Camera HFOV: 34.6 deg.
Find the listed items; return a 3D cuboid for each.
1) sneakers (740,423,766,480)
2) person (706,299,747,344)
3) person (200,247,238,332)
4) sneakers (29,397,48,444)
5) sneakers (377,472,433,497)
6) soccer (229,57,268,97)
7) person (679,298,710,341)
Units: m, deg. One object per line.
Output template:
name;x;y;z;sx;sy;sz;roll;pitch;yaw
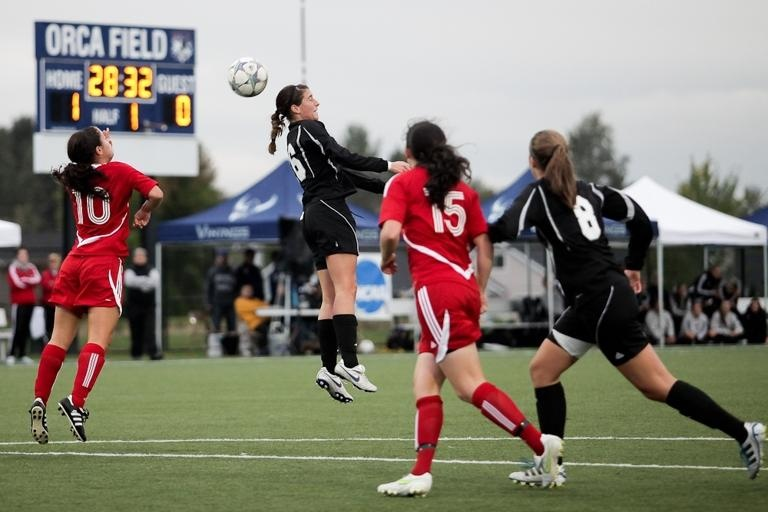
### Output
sneakers;3.581;1.854;12.024;0.253;0.576;0.202;-1;13;10
person;6.011;1.185;21.842;0.582;0.821;0.469;-3;10;-2
person;-3.049;0.757;23.584;0.701;2.275;0.504;-1;36;-6
sneakers;-3.669;1.784;13.175;0.178;0.501;0.238;-5;15;-6
sneakers;0.202;2.228;12.023;0.554;0.266;0.208;2;-12;1
soccer;-1.612;-2.145;14.683;0.460;0.483;0.477;19;21;34
person;5.663;1.227;22.502;0.590;0.843;0.546;3;3;-37
